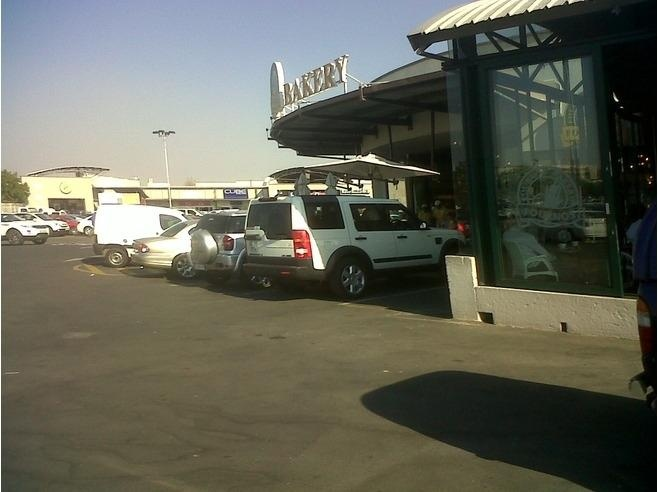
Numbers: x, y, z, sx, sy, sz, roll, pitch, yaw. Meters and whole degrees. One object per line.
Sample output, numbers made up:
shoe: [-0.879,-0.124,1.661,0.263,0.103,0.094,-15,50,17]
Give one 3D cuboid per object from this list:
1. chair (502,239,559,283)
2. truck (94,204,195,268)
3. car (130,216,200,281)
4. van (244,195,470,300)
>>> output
chair: [3.139,0.228,8.173,0.631,0.528,0.477,-4,6,-9]
truck: [-6.350,-0.500,17.884,3.167,1.610,1.819,-10,9,-11]
car: [-4.790,0.181,14.607,2.546,1.040,1.190,-5,8,-23]
van: [0.656,-0.146,12.114,4.685,1.878,2.283,-7,7,-36]
